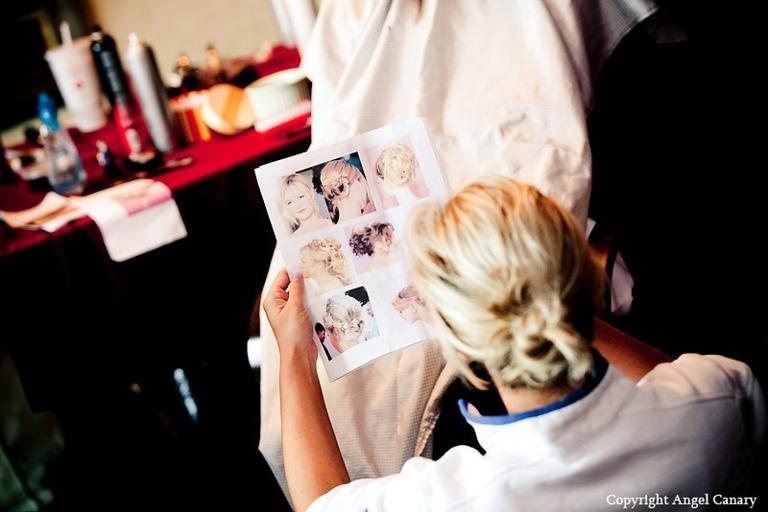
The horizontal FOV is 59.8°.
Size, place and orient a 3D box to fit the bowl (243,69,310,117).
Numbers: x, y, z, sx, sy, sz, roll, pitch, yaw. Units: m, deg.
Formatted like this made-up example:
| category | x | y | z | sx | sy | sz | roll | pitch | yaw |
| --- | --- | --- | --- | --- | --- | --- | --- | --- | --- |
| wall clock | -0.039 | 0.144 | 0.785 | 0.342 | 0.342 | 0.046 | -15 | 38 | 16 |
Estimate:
| category | x | y | z | sx | sy | sz | roll | pitch | yaw |
| --- | --- | --- | --- | --- | --- | --- | --- | --- | --- |
| bowl | -0.342 | -0.519 | 2.160 | 0.207 | 0.097 | 0.208 | -11 | 24 | 5 |
